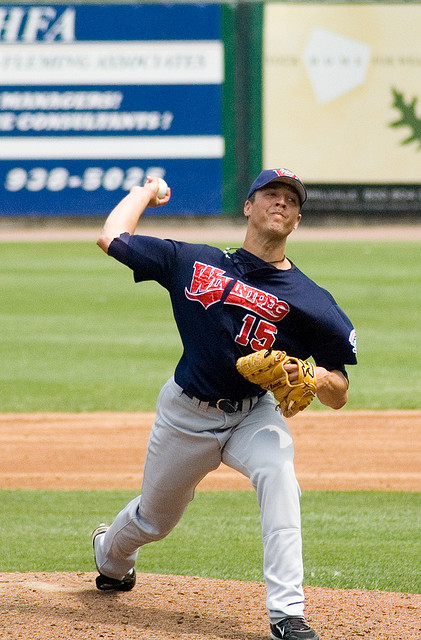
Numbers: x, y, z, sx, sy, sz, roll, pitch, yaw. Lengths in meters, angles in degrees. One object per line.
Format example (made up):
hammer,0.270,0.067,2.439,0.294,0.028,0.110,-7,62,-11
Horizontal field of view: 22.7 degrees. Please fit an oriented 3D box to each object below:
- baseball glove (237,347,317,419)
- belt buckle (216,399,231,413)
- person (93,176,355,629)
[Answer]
baseball glove,0.254,0.173,3.881,0.276,0.130,0.164,14,10,32
belt buckle,0.052,0.322,3.958,0.054,0.054,0.022,2,10,3
person,0.049,0.317,4.072,1.021,1.723,0.641,7,11,26
